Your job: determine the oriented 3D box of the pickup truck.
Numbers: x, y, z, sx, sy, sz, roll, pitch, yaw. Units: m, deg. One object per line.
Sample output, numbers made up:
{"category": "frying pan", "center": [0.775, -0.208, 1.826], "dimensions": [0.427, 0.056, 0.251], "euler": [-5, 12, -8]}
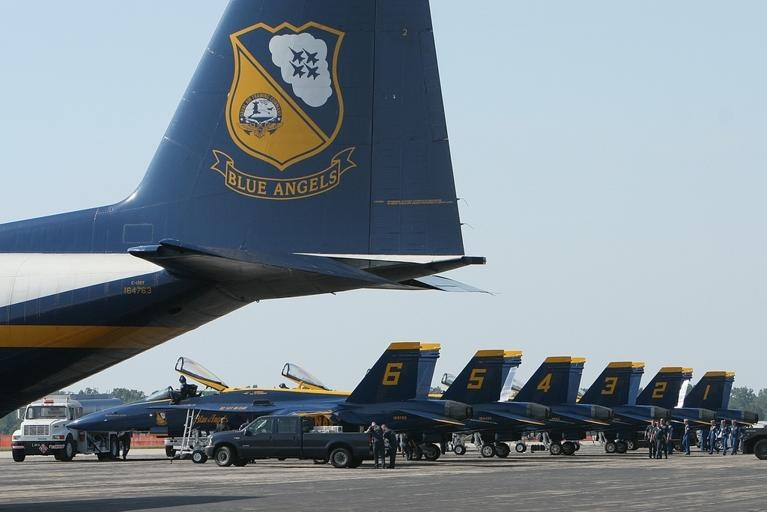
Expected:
{"category": "pickup truck", "center": [-3.343, 6.442, 44.917], "dimensions": [6.254, 1.757, 2.199], "euler": [-1, -7, 8]}
